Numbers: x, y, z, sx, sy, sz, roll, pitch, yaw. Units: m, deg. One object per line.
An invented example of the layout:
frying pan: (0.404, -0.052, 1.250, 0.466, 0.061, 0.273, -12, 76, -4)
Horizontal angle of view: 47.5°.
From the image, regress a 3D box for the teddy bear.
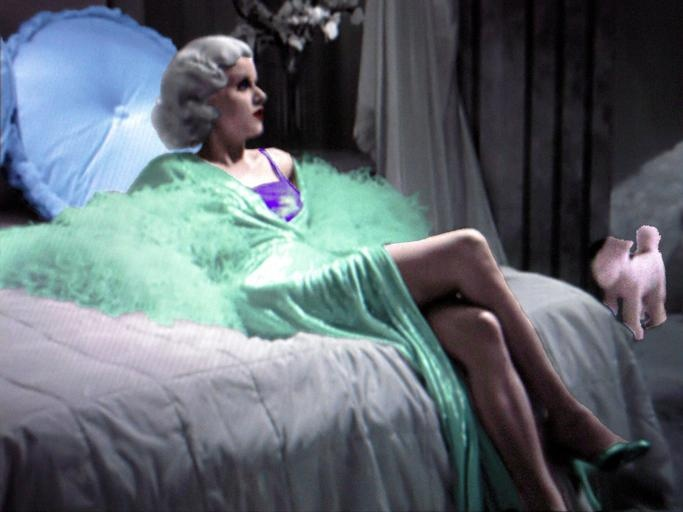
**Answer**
teddy bear: (0.929, 0.074, 2.500, 0.242, 0.323, 0.166, -16, 15, -19)

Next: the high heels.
high heels: (0.665, 0.518, 1.961, 0.174, 0.195, 0.203, 1, 6, 18)
